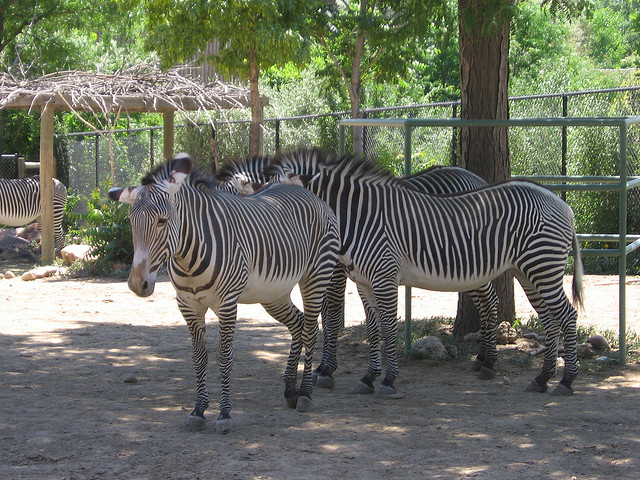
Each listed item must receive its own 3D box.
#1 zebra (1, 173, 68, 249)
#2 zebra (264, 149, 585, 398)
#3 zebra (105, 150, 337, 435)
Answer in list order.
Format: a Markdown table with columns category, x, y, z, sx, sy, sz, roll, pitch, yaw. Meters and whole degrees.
| category | x | y | z | sx | sy | sz | roll | pitch | yaw |
| --- | --- | --- | --- | --- | --- | --- | --- | --- | --- |
| zebra | -5.473 | -0.574 | 16.536 | 1.233 | 1.432 | 2.082 | -7 | 12 | -39 |
| zebra | 1.084 | 0.396 | 8.792 | 3.263 | 2.474 | 0.969 | 0 | -1 | 1 |
| zebra | -0.778 | 0.454 | 7.914 | 0.854 | 2.478 | 3.069 | -1 | 0 | 28 |
